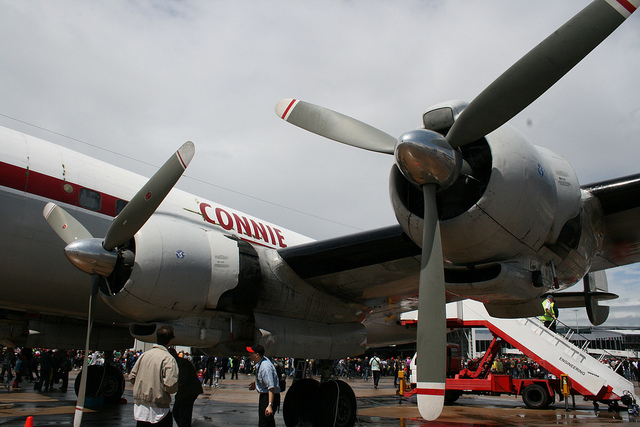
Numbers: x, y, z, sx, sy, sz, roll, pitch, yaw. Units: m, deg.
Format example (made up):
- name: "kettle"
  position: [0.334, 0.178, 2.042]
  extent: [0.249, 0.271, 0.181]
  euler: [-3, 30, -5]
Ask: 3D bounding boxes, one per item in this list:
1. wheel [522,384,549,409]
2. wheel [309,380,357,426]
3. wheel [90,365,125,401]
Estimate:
- name: "wheel"
  position: [7.050, 5.942, 16.108]
  extent: [0.621, 0.630, 0.245]
  euler: [34, 10, 22]
- name: "wheel"
  position: [0.237, 4.094, 10.660]
  extent: [0.850, 0.851, 0.348]
  euler: [13, -20, -41]
- name: "wheel"
  position: [-5.715, 4.520, 13.192]
  extent: [0.349, 0.925, 0.926]
  euler: [-3, -24, 40]
